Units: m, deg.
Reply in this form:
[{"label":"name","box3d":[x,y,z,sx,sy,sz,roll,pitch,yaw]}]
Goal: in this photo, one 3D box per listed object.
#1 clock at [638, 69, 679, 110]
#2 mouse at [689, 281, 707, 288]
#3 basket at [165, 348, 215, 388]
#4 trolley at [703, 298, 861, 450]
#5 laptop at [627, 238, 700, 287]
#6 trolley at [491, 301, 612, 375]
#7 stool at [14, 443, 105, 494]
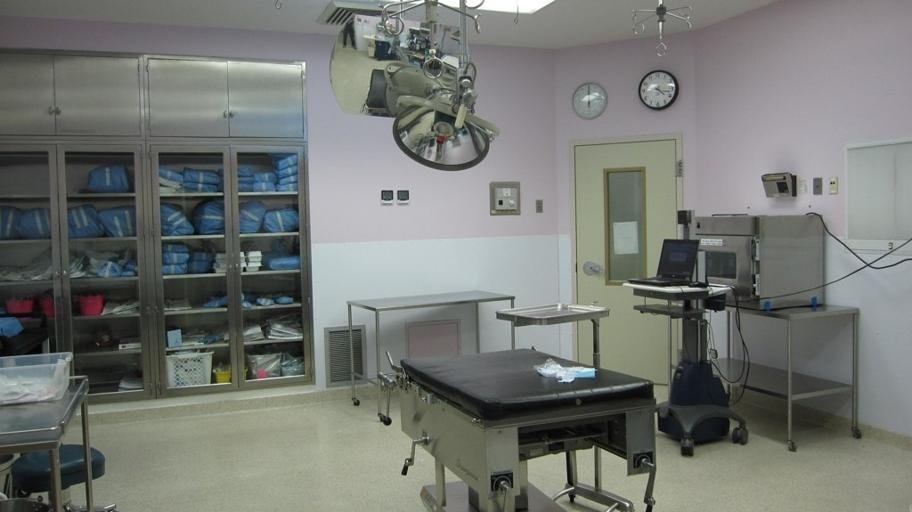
[{"label":"clock","box3d":[2.437,-1.990,7.338,0.559,0.519,0.098,1,-3,31]},{"label":"mouse","box3d":[2.352,0.279,5.972,0.161,0.042,0.086,1,3,-18]},{"label":"basket","box3d":[-3.079,1.210,7.167,0.638,0.445,0.395,1,-4,-21]},{"label":"trolley","box3d":[3.232,1.204,6.599,1.108,1.273,1.506,0,-2,-29]},{"label":"laptop","box3d":[2.088,0.078,6.150,0.549,0.411,0.595,1,-1,-24]},{"label":"trolley","box3d":[0.794,0.737,5.113,0.972,0.612,0.525,-1,3,-24]},{"label":"stool","box3d":[-3.026,1.617,4.712,0.437,0.133,0.548,0,-1,26]}]
